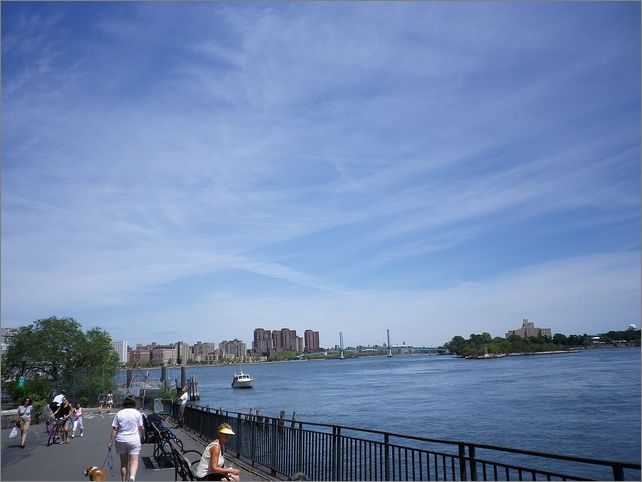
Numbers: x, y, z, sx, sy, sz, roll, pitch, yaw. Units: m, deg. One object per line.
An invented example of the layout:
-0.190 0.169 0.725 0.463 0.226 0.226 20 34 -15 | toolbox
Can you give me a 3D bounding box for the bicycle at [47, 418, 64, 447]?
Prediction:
-12.622 9.157 21.991 1.066 1.187 2.049 2 -23 -24 | bicycle
